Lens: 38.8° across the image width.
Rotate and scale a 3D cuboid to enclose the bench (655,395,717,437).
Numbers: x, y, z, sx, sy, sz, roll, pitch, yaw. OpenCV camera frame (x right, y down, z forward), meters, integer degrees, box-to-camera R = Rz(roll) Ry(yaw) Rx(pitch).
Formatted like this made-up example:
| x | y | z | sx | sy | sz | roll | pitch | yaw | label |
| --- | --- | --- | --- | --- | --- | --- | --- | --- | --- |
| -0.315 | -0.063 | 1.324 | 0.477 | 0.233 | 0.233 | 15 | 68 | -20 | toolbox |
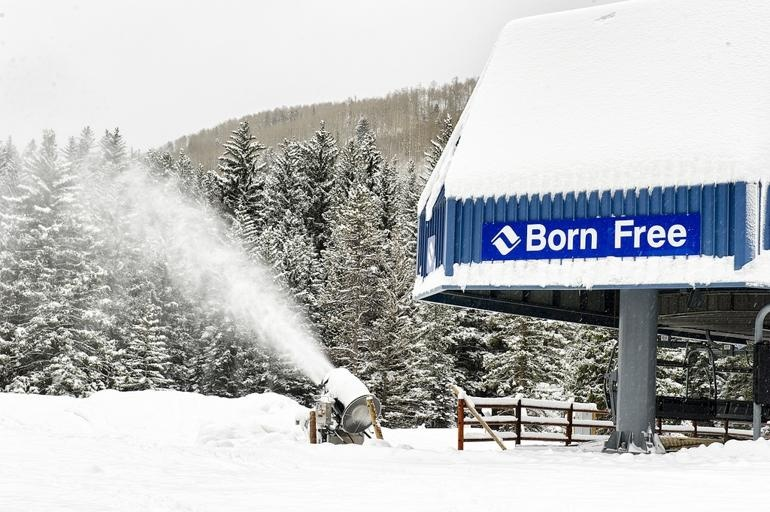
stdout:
| x | y | z | sx | sy | sz | roll | pitch | yaw | label |
| --- | --- | --- | --- | --- | --- | --- | --- | --- | --- |
| 10.151 | 5.569 | 38.201 | 2.090 | 1.243 | 0.681 | 6 | -3 | -19 | bench |
